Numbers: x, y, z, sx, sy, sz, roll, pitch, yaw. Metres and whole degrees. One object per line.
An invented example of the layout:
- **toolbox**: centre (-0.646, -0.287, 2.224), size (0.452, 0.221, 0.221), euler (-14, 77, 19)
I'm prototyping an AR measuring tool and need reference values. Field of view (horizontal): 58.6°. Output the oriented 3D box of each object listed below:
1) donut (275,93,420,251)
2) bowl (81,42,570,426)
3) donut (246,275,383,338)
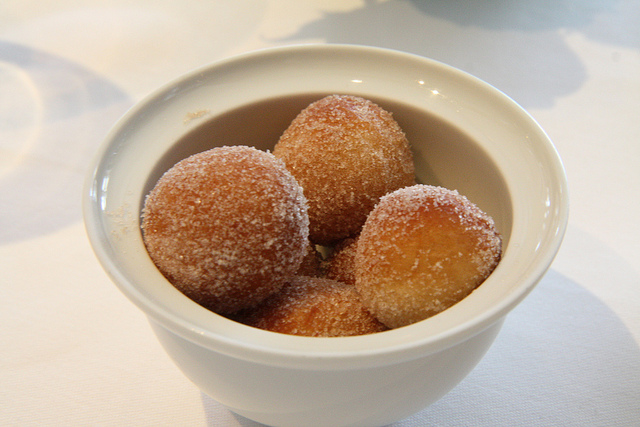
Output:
- **donut**: centre (0.010, -0.038, 0.866), size (0.200, 0.222, 0.200), euler (3, -16, -8)
- **bowl**: centre (-0.007, 0.005, 0.756), size (0.566, 0.309, 0.561), euler (-1, 39, 0)
- **donut**: centre (-0.005, 0.118, 0.704), size (0.111, 0.063, 0.089), euler (5, 23, 0)
